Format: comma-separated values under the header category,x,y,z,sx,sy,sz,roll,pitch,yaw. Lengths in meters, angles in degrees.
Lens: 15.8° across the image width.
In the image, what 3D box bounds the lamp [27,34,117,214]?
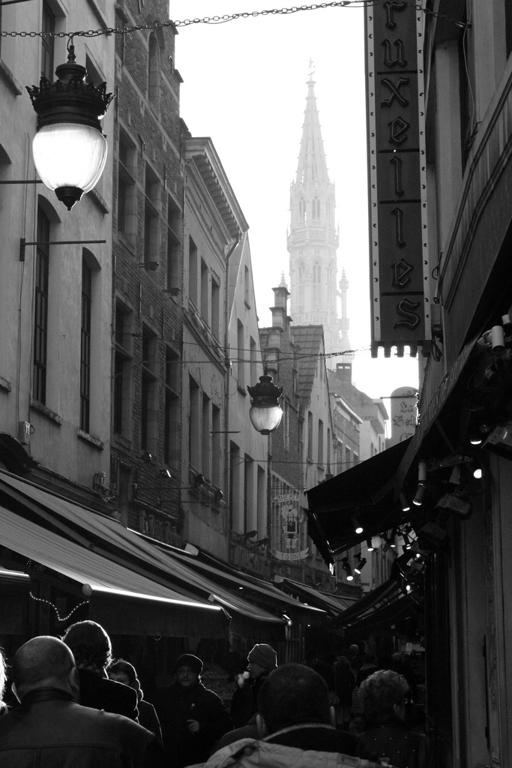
category,x,y,z,sx,sy,sz,roll,pitch,yaw
lamp,-1.200,-1.723,12.086,0.520,1.306,0.518,1,-14,-3

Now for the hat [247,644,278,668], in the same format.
category,x,y,z,sx,sy,sz,roll,pitch,yaw
hat,0.051,1.914,12.821,0.129,0.169,0.179,24,-5,-18

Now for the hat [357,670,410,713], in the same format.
category,x,y,z,sx,sy,sz,roll,pitch,yaw
hat,0.680,1.674,9.786,0.225,0.276,0.177,-18,16,-42

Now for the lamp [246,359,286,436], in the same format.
category,x,y,z,sx,sy,sz,roll,pitch,yaw
lamp,0.134,0.225,24.390,0.412,0.854,0.939,0,-17,0
